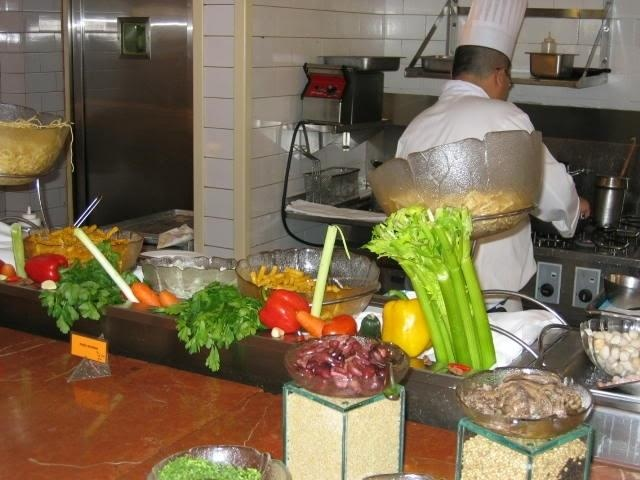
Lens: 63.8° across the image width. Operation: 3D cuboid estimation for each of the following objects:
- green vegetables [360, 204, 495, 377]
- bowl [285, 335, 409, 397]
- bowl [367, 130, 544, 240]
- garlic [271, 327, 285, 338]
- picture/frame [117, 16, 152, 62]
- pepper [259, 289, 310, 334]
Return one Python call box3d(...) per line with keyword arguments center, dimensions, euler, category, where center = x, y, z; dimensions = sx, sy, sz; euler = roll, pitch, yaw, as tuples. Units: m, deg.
box3d(center=(0.288, 0.103, 1.303), dimensions=(0.258, 0.418, 0.297), euler=(-15, 23, -33), category="green vegetables")
box3d(center=(0.048, 0.231, 0.949), dimensions=(0.233, 0.075, 0.152), euler=(2, 17, 1), category="bowl")
box3d(center=(0.392, -0.162, 1.446), dimensions=(0.488, 0.279, 0.491), euler=(-11, 12, 2), category="bowl")
box3d(center=(-0.118, 0.254, 1.407), dimensions=(0.025, 0.020, 0.025), euler=(3, -1, -26), category="garlic")
box3d(center=(-1.326, -1.429, 3.654), dimensions=(0.255, 0.300, 0.037), euler=(3, 7, 10), category="picture/frame")
box3d(center=(-0.091, 0.190, 1.491), dimensions=(0.145, 0.112, 0.137), euler=(10, 19, 31), category="pepper")
